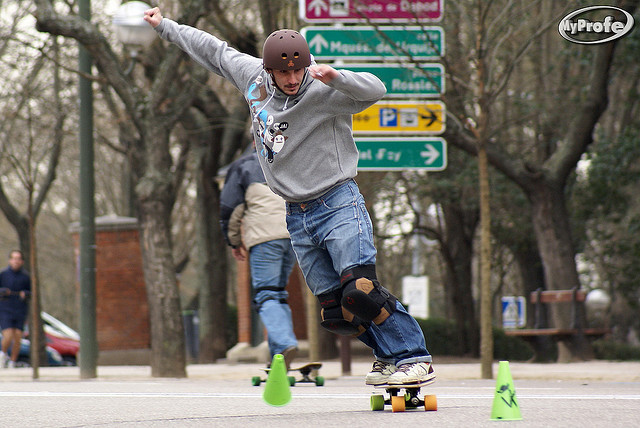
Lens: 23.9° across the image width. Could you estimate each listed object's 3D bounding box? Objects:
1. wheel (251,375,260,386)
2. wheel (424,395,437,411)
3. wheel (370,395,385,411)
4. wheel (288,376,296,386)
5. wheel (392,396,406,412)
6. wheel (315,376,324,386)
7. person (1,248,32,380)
[{"bbox_3d":[-0.691,1.813,16.554,0.086,0.114,0.207,-4,-10,-3],"label":"wheel"},{"bbox_3d":[1.059,1.802,14.456,0.129,0.136,0.142,4,-2,-42],"label":"wheel"},{"bbox_3d":[0.556,1.803,14.569,0.131,0.139,0.164,6,3,42],"label":"wheel"},{"bbox_3d":[-0.294,1.826,16.528,0.089,0.081,0.102,7,2,1],"label":"wheel"},{"bbox_3d":[0.756,1.812,14.521,0.163,0.136,0.126,1,-15,9],"label":"wheel"},{"bbox_3d":[0.004,1.818,16.579,0.082,0.113,0.100,-3,-10,-9],"label":"wheel"},{"bbox_3d":[-3.478,1.102,17.236,0.445,1.424,0.240,-13,-13,40],"label":"person"}]
